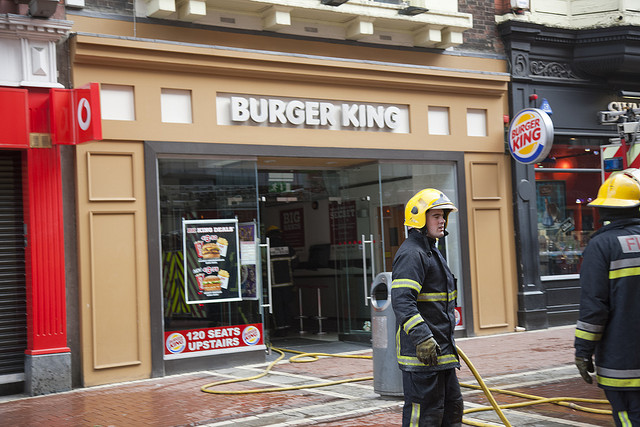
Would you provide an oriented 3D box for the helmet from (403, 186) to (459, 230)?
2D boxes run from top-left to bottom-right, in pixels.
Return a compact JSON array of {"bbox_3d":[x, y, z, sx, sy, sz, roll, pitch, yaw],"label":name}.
[{"bbox_3d":[1.318,-0.054,9.135,0.607,0.423,0.463,0,-3,37],"label":"helmet"}]

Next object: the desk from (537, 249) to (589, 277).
[{"bbox_3d":[5.495,1.104,17.056,1.267,0.712,0.618,1,-5,-18],"label":"desk"}]

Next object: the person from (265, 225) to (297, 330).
[{"bbox_3d":[-0.876,1.619,17.217,0.507,2.134,0.967,-1,3,38],"label":"person"}]

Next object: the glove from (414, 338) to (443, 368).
[{"bbox_3d":[1.240,1.575,8.600,0.267,0.341,0.129,-3,2,2],"label":"glove"}]
